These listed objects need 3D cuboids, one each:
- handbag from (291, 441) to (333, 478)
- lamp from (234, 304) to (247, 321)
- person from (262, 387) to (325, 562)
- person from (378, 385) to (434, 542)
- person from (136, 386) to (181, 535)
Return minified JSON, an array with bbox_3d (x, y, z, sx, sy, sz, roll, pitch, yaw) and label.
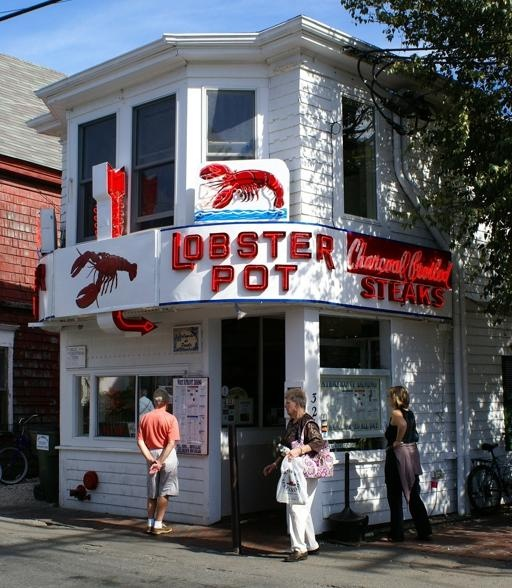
[{"bbox_3d":[0.628,1.735,8.516,0.178,0.374,0.488,-7,-13,37],"label":"handbag"},{"bbox_3d":[-0.192,0.210,9.885,0.137,0.056,0.188,-36,-22,-9],"label":"lamp"},{"bbox_3d":[0.375,1.899,8.600,0.480,1.700,0.553,7,-11,-17],"label":"person"},{"bbox_3d":[1.775,1.970,9.587,0.482,1.788,0.458,1,-9,-4],"label":"person"},{"bbox_3d":[-1.151,2.022,9.847,0.519,1.718,0.478,-3,-10,21],"label":"person"}]
